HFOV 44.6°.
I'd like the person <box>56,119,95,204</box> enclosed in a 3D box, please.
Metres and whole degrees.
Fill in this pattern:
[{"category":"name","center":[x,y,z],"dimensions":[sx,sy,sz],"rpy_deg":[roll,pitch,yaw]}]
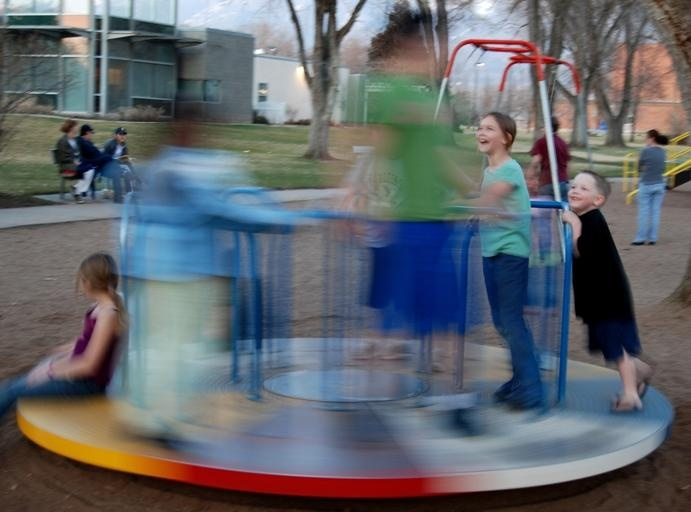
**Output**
[{"category":"person","center":[-4.867,-1.696,15.025],"dimensions":[0.674,1.409,0.742],"rpy_deg":[0,16,1]}]

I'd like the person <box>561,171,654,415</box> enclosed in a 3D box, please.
[{"category":"person","center":[1.659,0.221,5.503],"dimensions":[0.424,1.497,0.682],"rpy_deg":[-5,17,-17]}]

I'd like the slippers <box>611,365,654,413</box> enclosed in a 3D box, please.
[{"category":"slippers","center":[1.847,0.830,5.514],"dimensions":[0.165,0.181,0.506],"rpy_deg":[-29,-10,20]}]
